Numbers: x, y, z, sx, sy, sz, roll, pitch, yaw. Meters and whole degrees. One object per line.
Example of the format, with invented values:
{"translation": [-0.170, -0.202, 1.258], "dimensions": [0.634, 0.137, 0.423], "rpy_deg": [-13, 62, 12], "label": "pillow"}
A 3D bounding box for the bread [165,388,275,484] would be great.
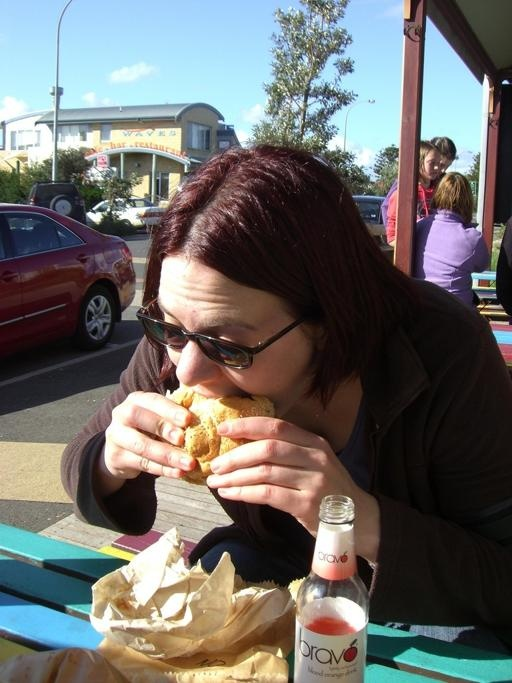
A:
{"translation": [-0.066, 0.197, 1.251], "dimensions": [0.069, 0.220, 0.216], "rpy_deg": [31, -18, -32], "label": "bread"}
